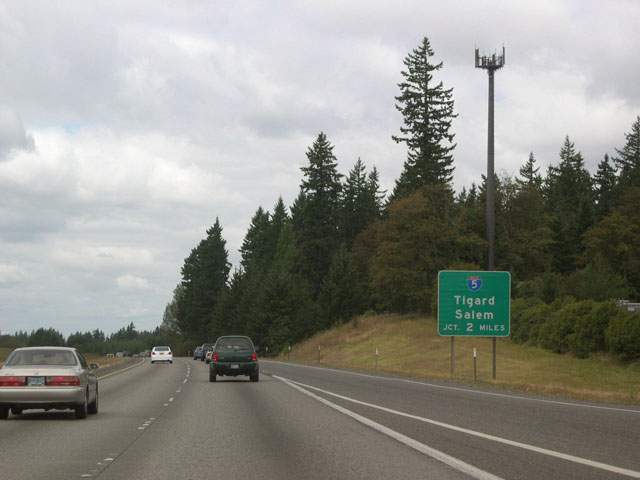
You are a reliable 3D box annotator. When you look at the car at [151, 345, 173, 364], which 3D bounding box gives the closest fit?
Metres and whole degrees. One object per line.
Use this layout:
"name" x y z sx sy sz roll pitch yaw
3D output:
"car" -15.535 11.063 70.489 2.177 1.501 1.488 -6 -13 29
